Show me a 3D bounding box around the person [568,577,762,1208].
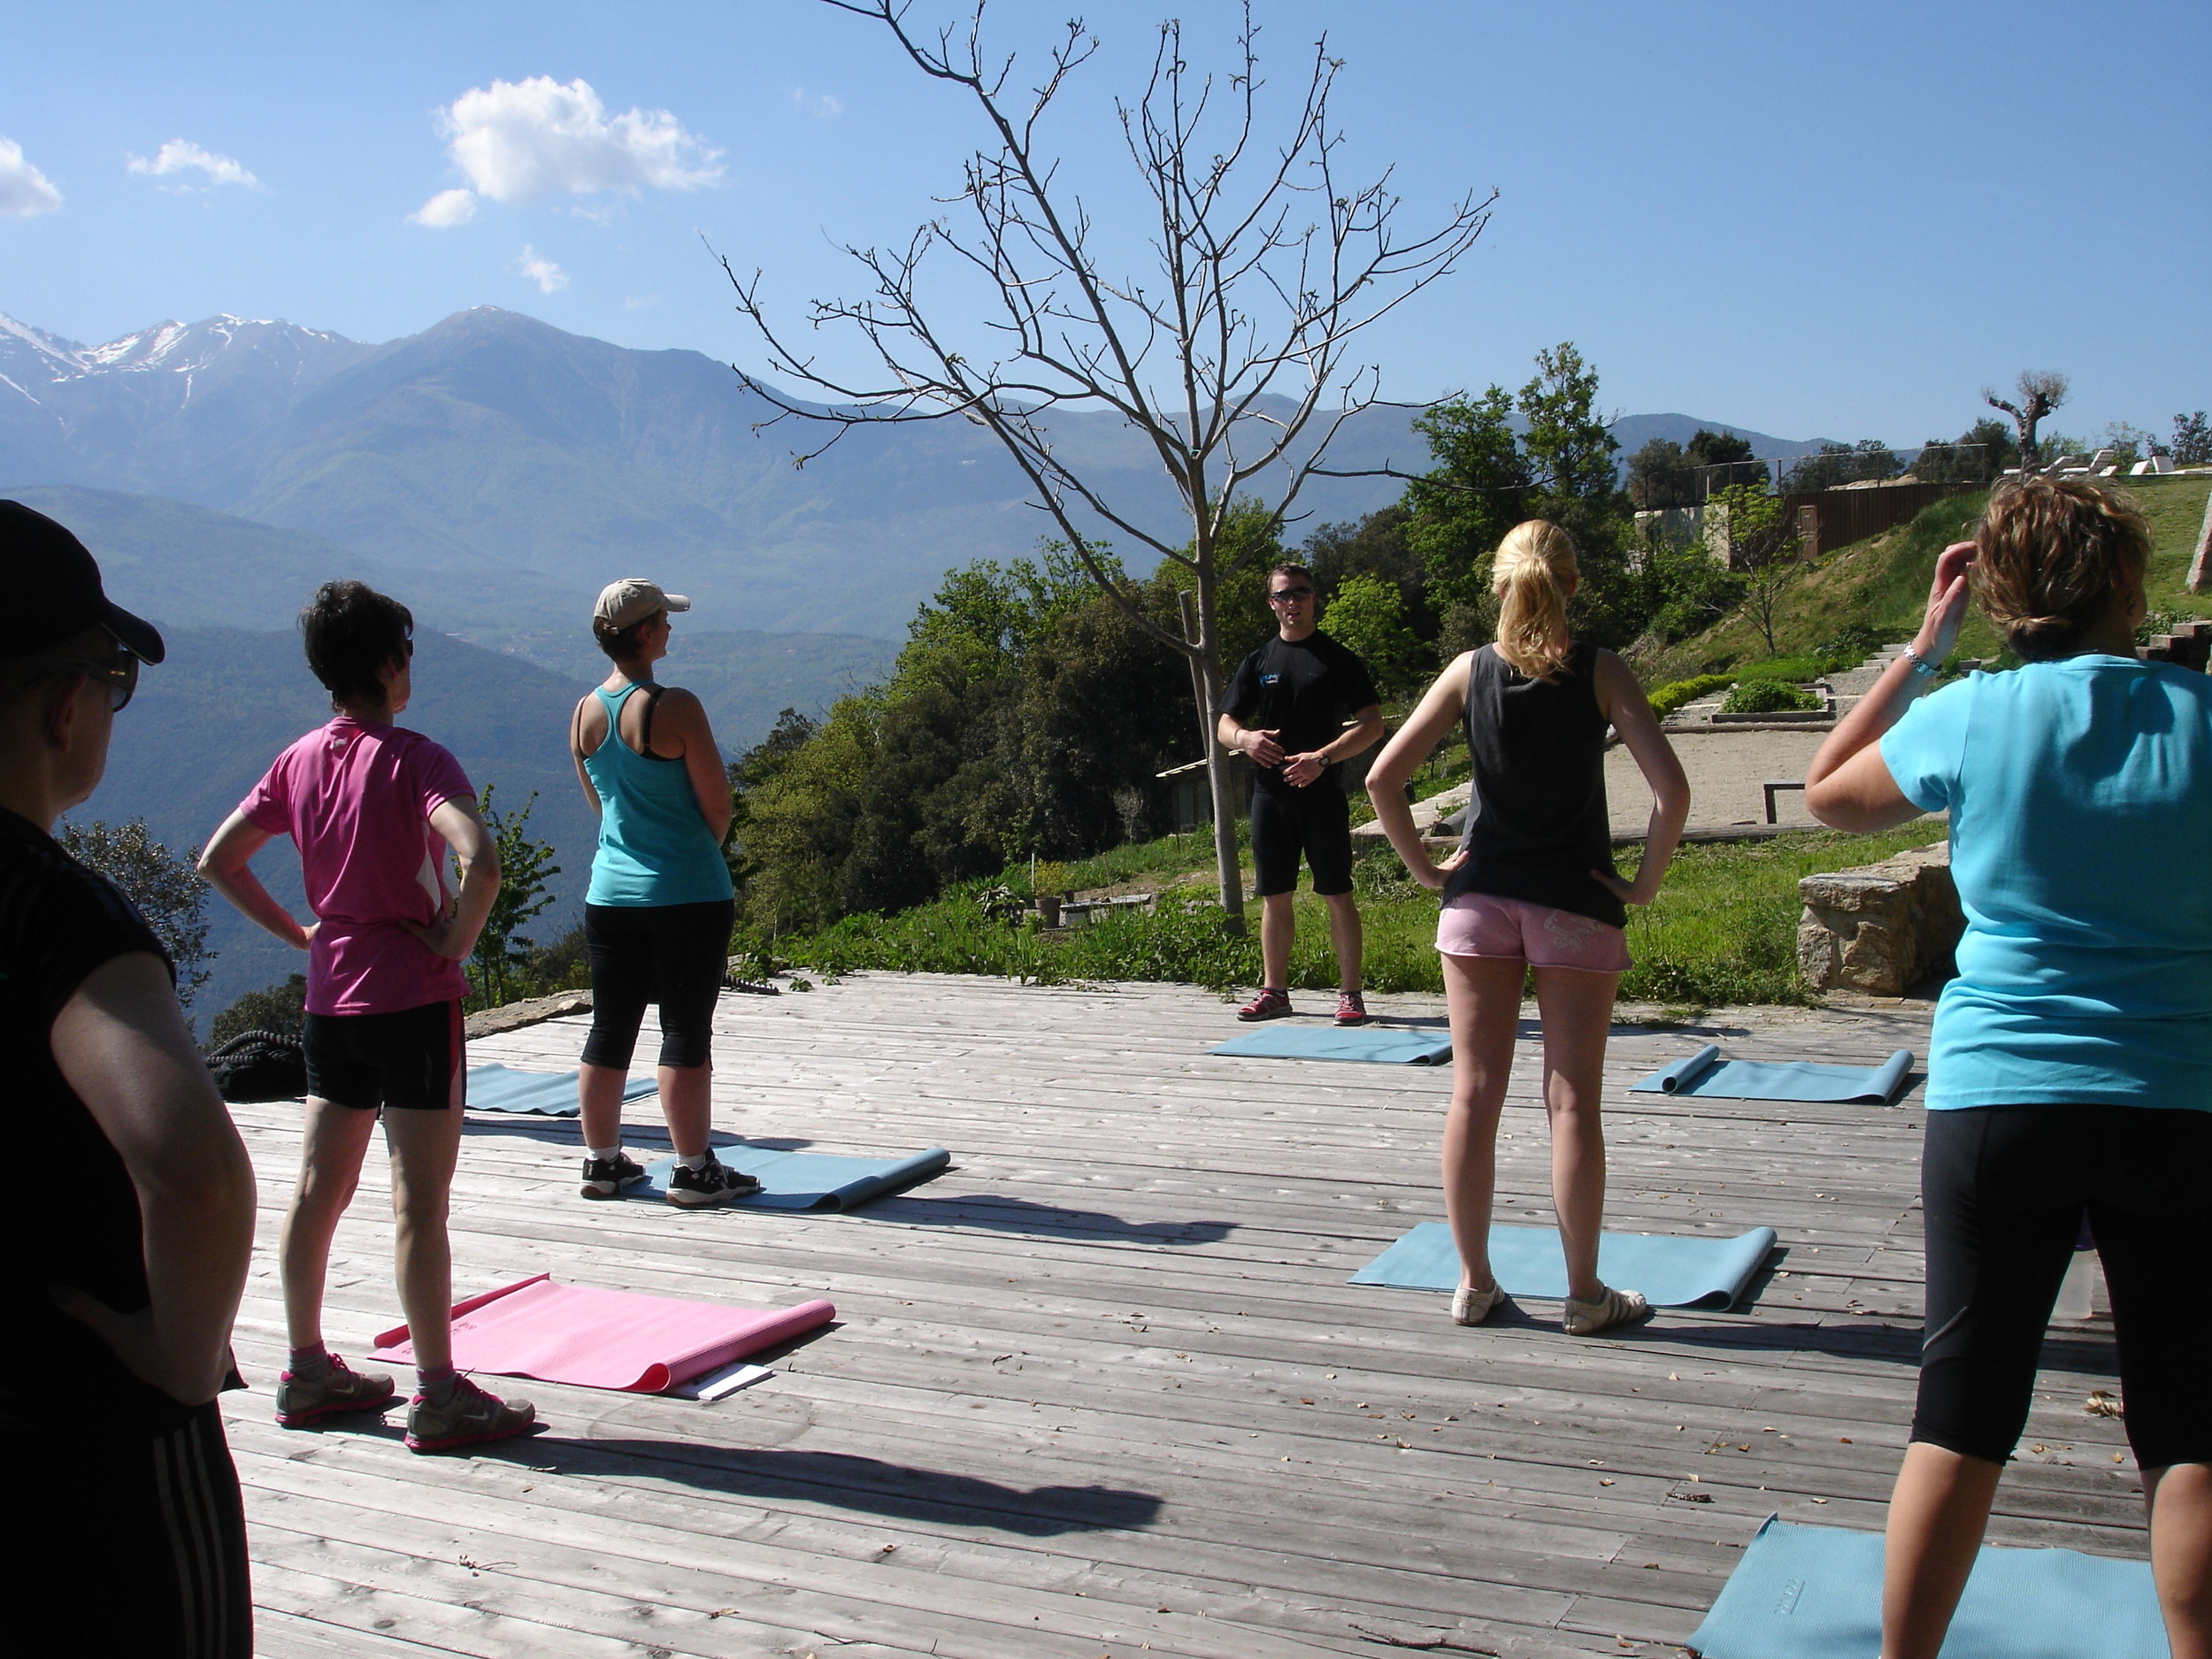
[{"bbox_3d":[-1.650,0.217,6.329,0.654,2.252,1.398,-4,6,-16],"label":"person"}]

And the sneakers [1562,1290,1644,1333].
[{"bbox_3d":[1.365,1.300,4.799,0.251,0.115,0.092,-10,10,-27],"label":"sneakers"}]

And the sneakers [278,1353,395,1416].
[{"bbox_3d":[-2.025,1.431,4.611,0.312,0.174,0.133,1,3,-39],"label":"sneakers"}]

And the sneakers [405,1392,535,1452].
[{"bbox_3d":[-1.589,1.470,4.338,0.279,0.148,0.139,-2,1,-16],"label":"sneakers"}]

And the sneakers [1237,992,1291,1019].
[{"bbox_3d":[0.815,0.897,8.980,0.114,0.140,0.296,-2,-4,43],"label":"sneakers"}]

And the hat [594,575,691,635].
[{"bbox_3d":[-1.667,-0.789,6.136,0.291,0.199,0.477,-4,6,-17],"label":"hat"}]

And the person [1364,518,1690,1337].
[{"bbox_3d":[1.149,0.267,4.718,0.793,2.193,0.403,0,6,17],"label":"person"}]

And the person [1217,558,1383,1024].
[{"bbox_3d":[1.007,-0.190,8.904,0.786,2.289,1.550,-1,6,8],"label":"person"}]

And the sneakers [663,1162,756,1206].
[{"bbox_3d":[-1.428,1.229,6.259,0.324,0.180,0.132,-6,6,-23],"label":"sneakers"}]

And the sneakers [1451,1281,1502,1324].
[{"bbox_3d":[1.031,1.299,4.850,0.068,0.082,0.178,1,5,30],"label":"sneakers"}]

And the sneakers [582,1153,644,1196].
[{"bbox_3d":[-1.817,1.269,6.415,0.105,0.120,0.260,2,5,19],"label":"sneakers"}]
